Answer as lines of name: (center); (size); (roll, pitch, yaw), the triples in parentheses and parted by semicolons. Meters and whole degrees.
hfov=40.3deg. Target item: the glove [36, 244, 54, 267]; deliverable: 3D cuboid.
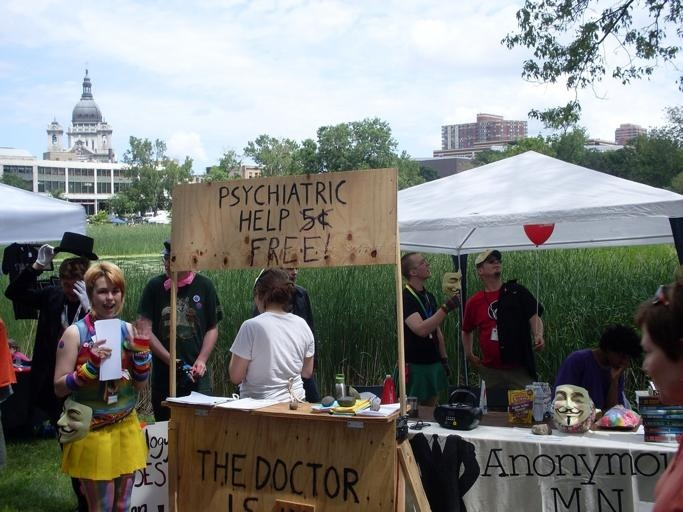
glove: (-2.908, 0.010, 9.193); (0.129, 0.301, 0.144); (5, 16, -1)

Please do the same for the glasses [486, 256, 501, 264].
glasses: (1.538, 0.047, 9.450); (0.145, 0.083, 0.098); (18, 10, 28)

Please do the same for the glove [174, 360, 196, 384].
glove: (-1.416, 1.087, 8.531); (0.172, 0.240, 0.317); (2, 1, -10)

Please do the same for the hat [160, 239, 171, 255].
hat: (-1.630, -0.066, 8.745); (0.061, 0.143, 0.174); (2, 2, -19)

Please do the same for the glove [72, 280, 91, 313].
glove: (-2.173, 0.347, 7.854); (0.054, 0.276, 0.151); (-10, -12, -29)

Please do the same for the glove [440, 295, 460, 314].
glove: (1.012, 0.459, 8.523); (0.162, 0.090, 0.131); (-18, 25, 45)

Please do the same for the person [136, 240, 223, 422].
person: (-1.535, 1.000, 9.046); (0.751, 2.563, 0.742); (1, 24, -5)

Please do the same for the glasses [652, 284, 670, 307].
glasses: (1.963, 0.265, 5.755); (0.044, 0.204, 0.178); (4, -14, 4)
